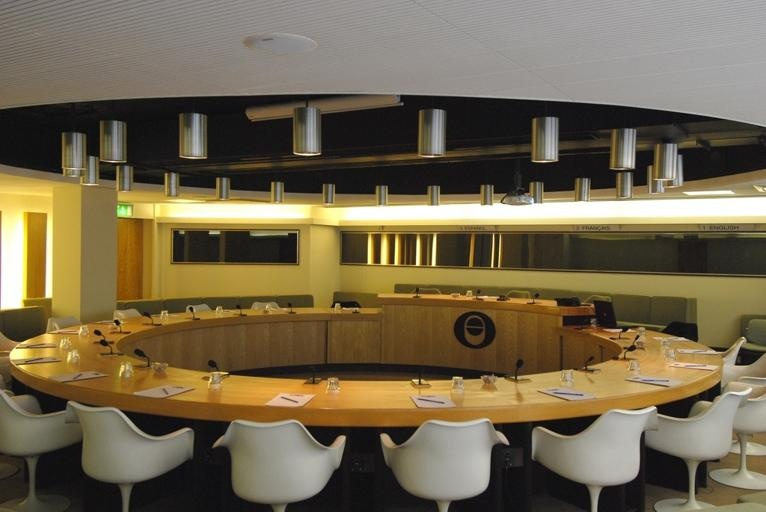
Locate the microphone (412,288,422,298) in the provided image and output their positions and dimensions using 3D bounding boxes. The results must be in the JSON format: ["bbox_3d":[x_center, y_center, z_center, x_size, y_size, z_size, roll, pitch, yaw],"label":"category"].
[{"bbox_3d":[0.577,0.585,10.557,0.197,0.190,0.185,1,-2,-10],"label":"microphone"}]

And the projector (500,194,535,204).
[{"bbox_3d":[1.869,-0.796,9.150,0.255,0.122,0.329,1,-2,12],"label":"projector"}]

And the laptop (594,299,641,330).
[{"bbox_3d":[2.985,0.762,8.808,0.456,0.406,0.546,0,2,-30],"label":"laptop"}]

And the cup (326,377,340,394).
[{"bbox_3d":[-0.431,1.121,5.709,0.128,0.110,0.121,-1,0,0],"label":"cup"}]

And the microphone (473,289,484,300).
[{"bbox_3d":[1.636,0.660,11.375,0.192,0.138,0.197,2,19,13],"label":"microphone"}]

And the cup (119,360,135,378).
[{"bbox_3d":[-2.376,1.045,6.075,0.145,0.123,0.133,1,-2,0],"label":"cup"}]

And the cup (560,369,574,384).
[{"bbox_3d":[1.647,1.088,5.939,0.132,0.110,0.125,1,4,0],"label":"cup"}]
